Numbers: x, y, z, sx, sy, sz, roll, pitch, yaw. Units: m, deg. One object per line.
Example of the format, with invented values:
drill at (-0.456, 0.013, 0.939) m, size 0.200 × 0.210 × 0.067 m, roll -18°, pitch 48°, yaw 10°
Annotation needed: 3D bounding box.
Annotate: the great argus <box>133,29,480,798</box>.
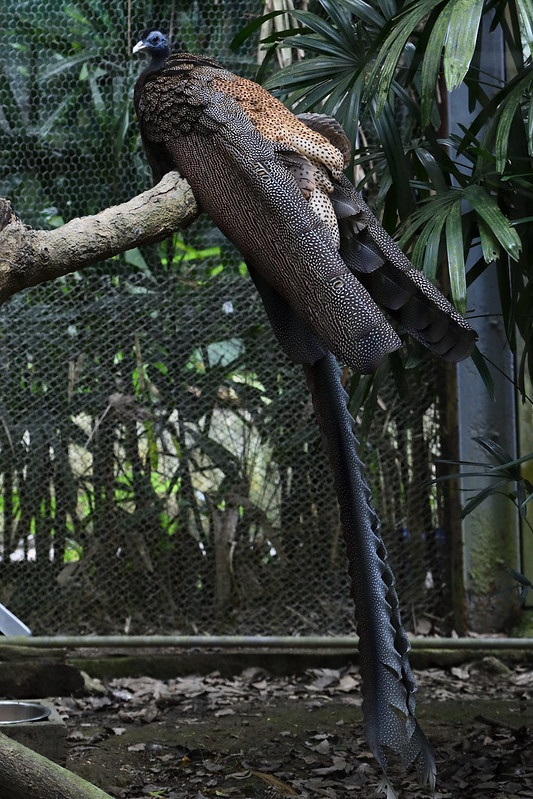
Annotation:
great argus at (0.231, 0.147, 2.326) m, size 0.596 × 2.027 × 0.901 m, roll -15°, pitch 22°, yaw -3°
